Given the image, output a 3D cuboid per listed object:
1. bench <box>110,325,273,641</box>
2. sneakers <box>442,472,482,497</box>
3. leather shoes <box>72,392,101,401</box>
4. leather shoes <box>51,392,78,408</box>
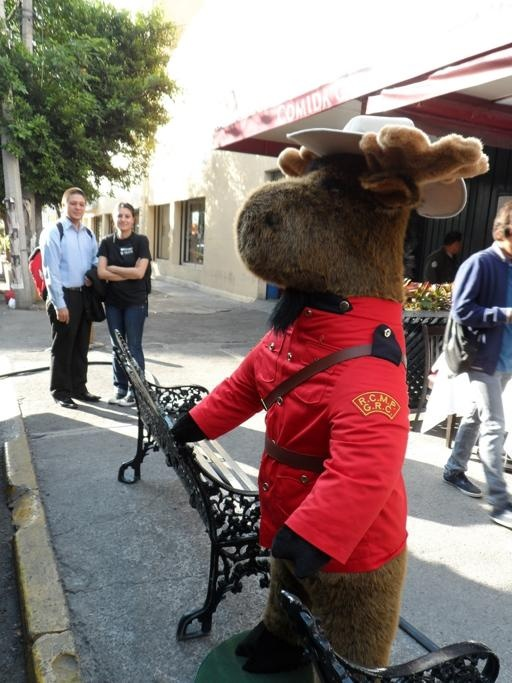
[{"bbox_3d":[-0.347,0.679,2.699,0.518,0.747,1.261,-7,20,-18],"label":"bench"},{"bbox_3d":[1.294,0.886,3.546,0.086,0.084,0.222,-1,8,-29],"label":"sneakers"},{"bbox_3d":[-1.537,0.497,5.150,0.253,0.092,0.081,0,8,-8],"label":"leather shoes"},{"bbox_3d":[-1.675,0.497,4.962,0.268,0.106,0.101,12,15,40],"label":"leather shoes"}]
